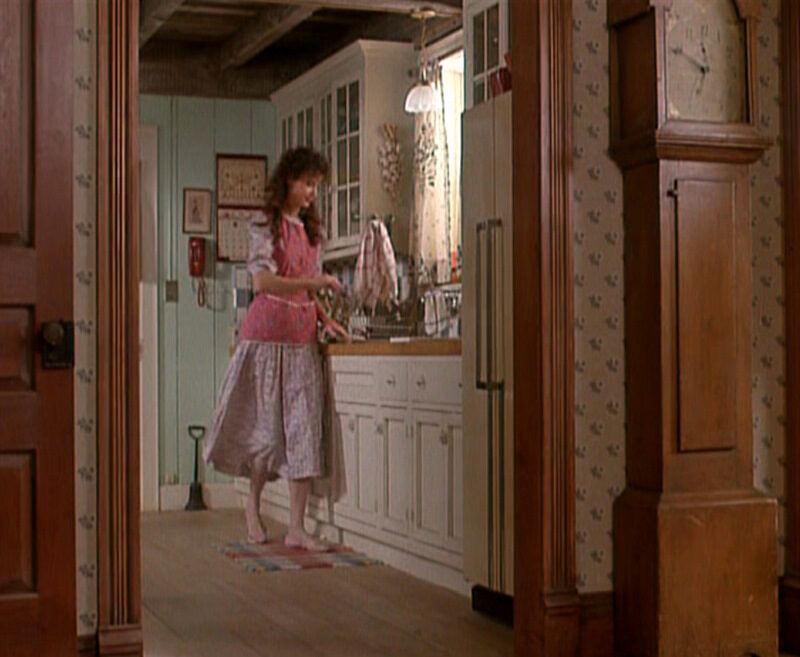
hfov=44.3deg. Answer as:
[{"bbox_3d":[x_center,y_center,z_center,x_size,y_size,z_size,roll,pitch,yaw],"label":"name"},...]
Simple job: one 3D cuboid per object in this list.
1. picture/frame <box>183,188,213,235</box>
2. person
[{"bbox_3d":[-1.360,-0.788,6.554,0.219,0.498,0.030,2,-6,-29],"label":"picture/frame"},{"bbox_3d":[-0.597,0.082,4.889,0.660,1.994,0.386,0,-1,-5],"label":"person"}]
